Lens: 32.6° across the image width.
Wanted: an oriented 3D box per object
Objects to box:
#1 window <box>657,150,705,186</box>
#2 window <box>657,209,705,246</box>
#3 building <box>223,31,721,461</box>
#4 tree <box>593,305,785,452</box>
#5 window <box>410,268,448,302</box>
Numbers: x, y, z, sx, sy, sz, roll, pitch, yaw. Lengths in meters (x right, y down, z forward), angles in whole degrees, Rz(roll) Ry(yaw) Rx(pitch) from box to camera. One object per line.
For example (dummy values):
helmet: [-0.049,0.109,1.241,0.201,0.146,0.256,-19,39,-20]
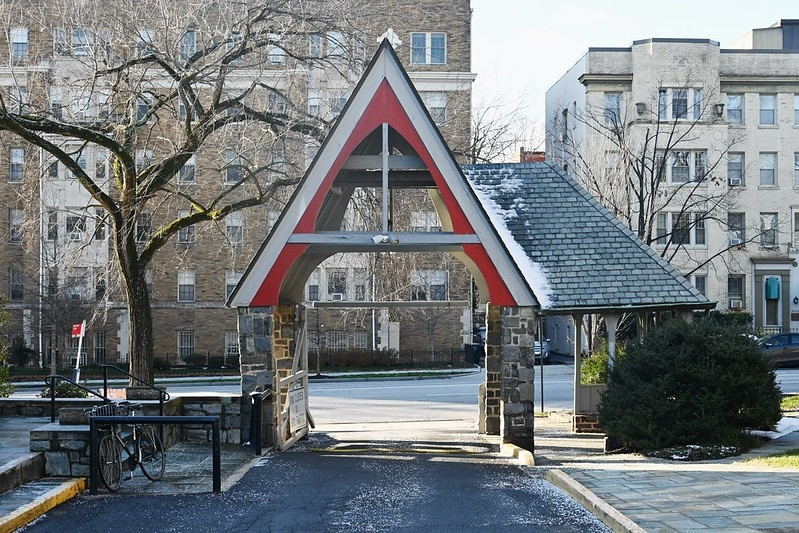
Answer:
window: [14.785,-5.145,72.038,2.956,2.052,0.237,-1,1,-7]
window: [14.616,-2.098,71.228,2.383,1.656,0.208,0,-3,-7]
building: [2.264,-0.804,51.418,16.474,13.933,9.562,-2,0,0]
tree: [10.028,4.179,48.717,4.891,4.313,4.877,-4,-7,-4]
window: [1.592,0.960,74.933,1.759,1.665,0.147,0,1,-19]
